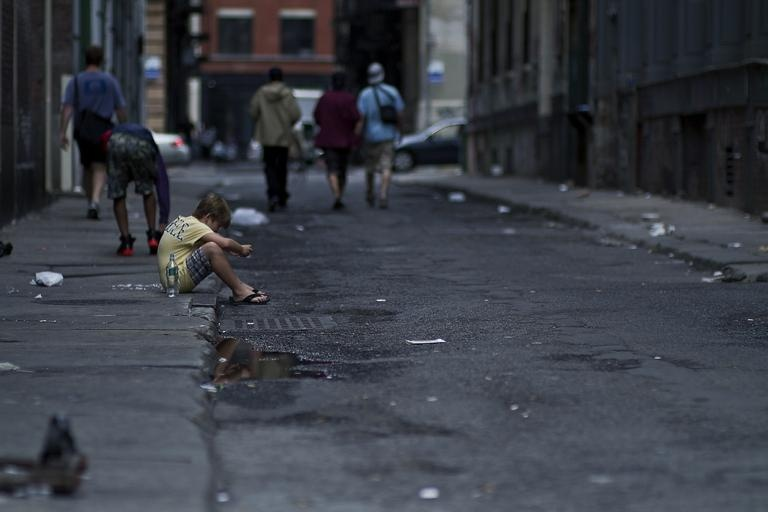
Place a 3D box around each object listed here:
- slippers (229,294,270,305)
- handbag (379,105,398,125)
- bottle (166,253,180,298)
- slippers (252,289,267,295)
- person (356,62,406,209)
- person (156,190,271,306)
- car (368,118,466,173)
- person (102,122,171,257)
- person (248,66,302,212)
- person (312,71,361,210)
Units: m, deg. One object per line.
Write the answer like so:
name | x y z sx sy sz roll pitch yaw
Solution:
slippers | -1.065 0.356 10.268 0.219 0.045 0.119 -4 2 18
handbag | 0.070 -2.064 18.812 0.295 0.265 0.103 2 -19 -6
bottle | -1.642 0.148 10.025 0.096 0.324 0.157 -1 10 -9
slippers | -0.992 0.292 10.360 0.049 0.038 0.117 -13 -12 30
person | -0.068 -1.775 19.227 0.662 2.133 1.425 0 10 -1
person | -1.329 -0.077 10.281 0.985 0.770 0.724 5 6 -17
car | 1.119 -3.183 37.107 3.292 1.247 1.463 -1 4 -13
person | -2.372 -0.636 12.486 0.599 1.255 0.426 -3 11 -16
person | -1.557 -1.669 18.514 0.695 2.050 0.934 0 10 -5
person | -0.677 -1.535 18.675 0.645 1.686 0.612 0 10 -3
